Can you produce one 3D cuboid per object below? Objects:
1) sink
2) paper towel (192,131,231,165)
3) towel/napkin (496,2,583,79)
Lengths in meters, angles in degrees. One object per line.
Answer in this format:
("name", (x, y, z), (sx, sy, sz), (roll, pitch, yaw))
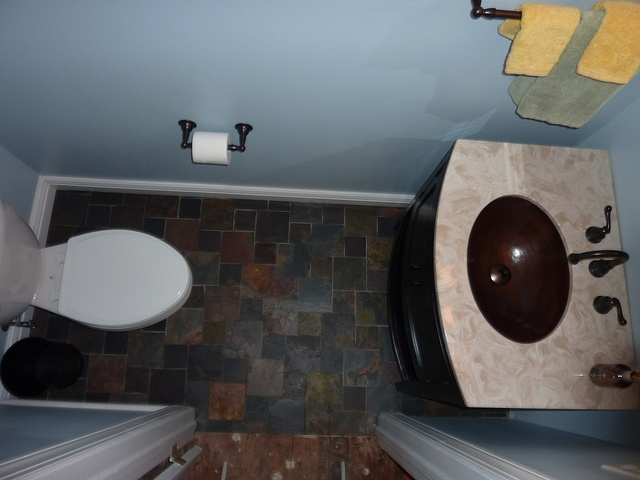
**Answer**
("sink", (0.834, 0.120, 1.844), (0.386, 0.134, 0.601), (-4, 76, -6))
("paper towel", (-0.530, -0.439, 2.175), (0.169, 0.151, 0.156), (1, 83, -3))
("towel/napkin", (0.773, -0.705, 1.554), (0.210, 0.196, 0.148), (13, 73, -1))
